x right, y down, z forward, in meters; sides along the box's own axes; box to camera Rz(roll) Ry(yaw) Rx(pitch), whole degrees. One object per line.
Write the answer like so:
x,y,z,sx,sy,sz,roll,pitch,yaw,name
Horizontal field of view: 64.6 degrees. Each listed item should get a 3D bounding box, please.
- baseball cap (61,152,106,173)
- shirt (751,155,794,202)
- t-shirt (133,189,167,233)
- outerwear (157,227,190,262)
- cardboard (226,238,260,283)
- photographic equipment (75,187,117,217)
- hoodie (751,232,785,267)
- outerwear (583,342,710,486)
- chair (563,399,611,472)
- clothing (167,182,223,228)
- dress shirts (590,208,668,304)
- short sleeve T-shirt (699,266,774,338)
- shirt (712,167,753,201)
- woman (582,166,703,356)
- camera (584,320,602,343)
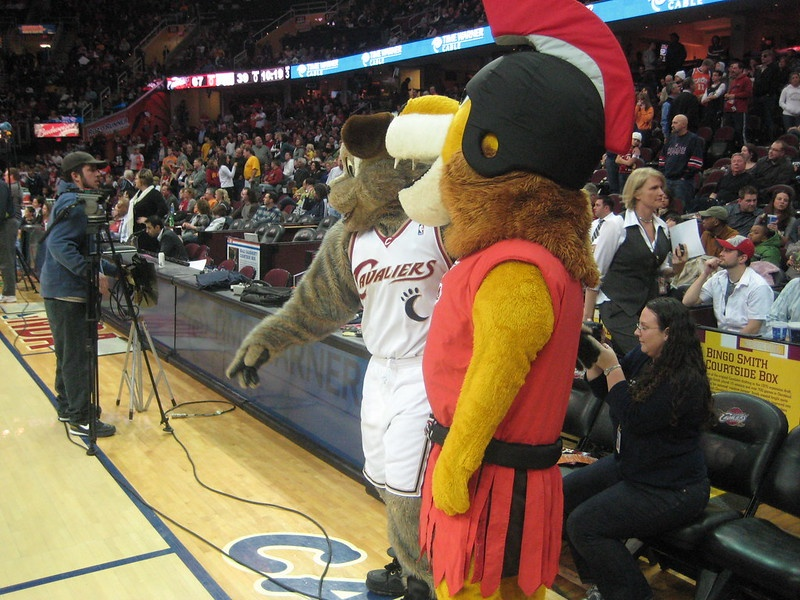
-2.463,-1.091,4.979,0.293,0.156,0.204,-16,20,-22,baseball cap
4.798,-1.569,8.215,0.489,0.584,0.474,8,15,31,shirt
-3.513,-1.235,8.868,0.334,0.646,0.625,1,16,-33,t-shirt
-2.951,-0.730,8.214,0.300,0.368,0.540,-6,14,-23,outerwear
-1.892,-0.485,7.677,0.660,0.477,0.087,12,13,36,cardboard
-2.140,-0.695,4.591,0.301,0.256,0.238,-1,10,-13,photographic equipment
3.502,-0.485,6.082,0.209,0.290,0.403,4,3,15,hoodie
1.169,0.566,3.154,0.508,0.601,0.509,5,1,15,outerwear
1.048,0.790,3.640,0.319,0.309,0.318,-7,13,-12,chair
-4.193,-1.940,12.987,1.053,0.703,3.753,-5,14,-19,clothing
1.637,-0.303,4.389,0.686,0.651,0.389,2,2,-9,dress shirts
2.433,0.039,4.627,0.305,0.476,0.571,-5,10,-25,short sleeve T-shirt
4.334,-1.470,8.271,0.401,0.423,0.456,7,15,29,shirt
1.640,-0.016,4.363,0.602,1.744,0.579,-2,7,-20,woman
0.759,0.129,2.515,0.065,0.020,0.062,24,8,-16,camera
